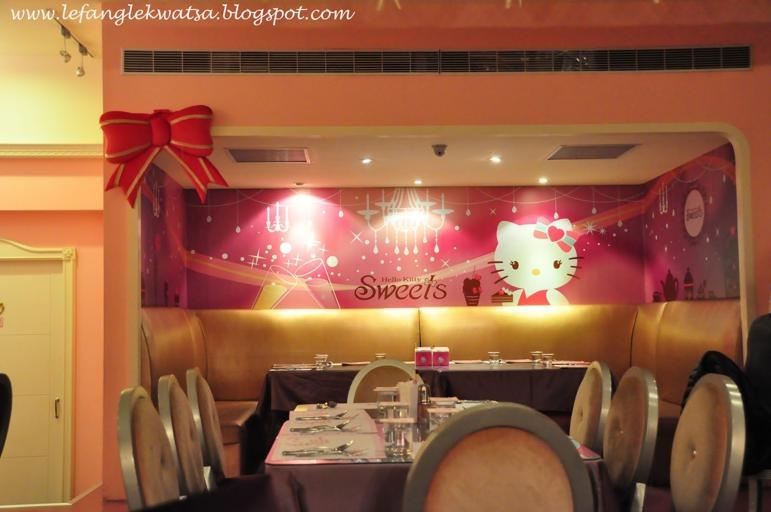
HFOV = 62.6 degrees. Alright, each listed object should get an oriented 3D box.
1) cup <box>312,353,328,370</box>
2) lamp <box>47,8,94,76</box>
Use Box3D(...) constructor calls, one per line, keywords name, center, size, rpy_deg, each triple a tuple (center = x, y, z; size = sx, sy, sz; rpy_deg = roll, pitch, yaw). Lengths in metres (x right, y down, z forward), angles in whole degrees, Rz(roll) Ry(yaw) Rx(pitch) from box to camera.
Box3D(name="cup", center=(-0.638, 1.052, 6.317), size=(0.156, 0.161, 0.158), rpy_deg=(1, -8, 0))
Box3D(name="lamp", center=(-3.311, -2.221, 6.760), size=(0.379, 0.537, 0.549), rpy_deg=(2, -5, -21))
